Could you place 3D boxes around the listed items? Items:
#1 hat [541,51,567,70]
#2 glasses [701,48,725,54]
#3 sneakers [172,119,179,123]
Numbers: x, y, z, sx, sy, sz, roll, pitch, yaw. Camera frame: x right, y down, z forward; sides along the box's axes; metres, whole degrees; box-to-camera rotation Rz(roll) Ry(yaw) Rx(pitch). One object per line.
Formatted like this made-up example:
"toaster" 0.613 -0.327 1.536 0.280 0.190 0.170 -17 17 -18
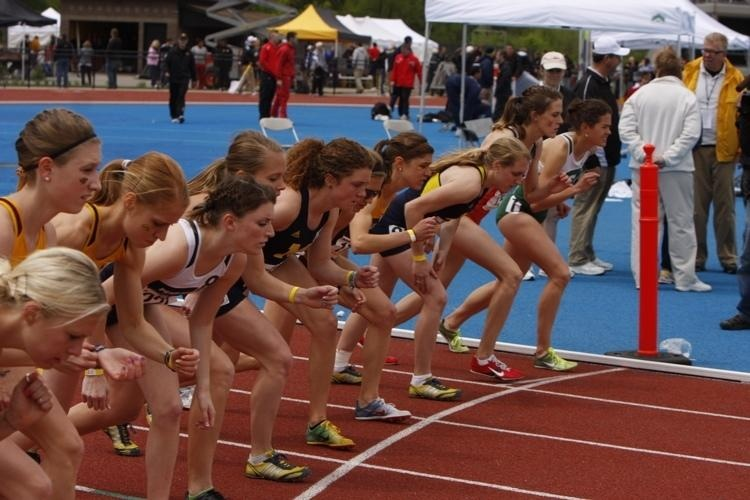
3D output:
"hat" 2.479 -2.595 11.019 0.315 0.224 0.451 1 4 1
"glasses" 4.093 -2.391 9.579 0.246 0.075 0.134 4 13 13
"sneakers" -5.759 -3.697 22.803 0.145 0.150 0.113 1 17 -4
